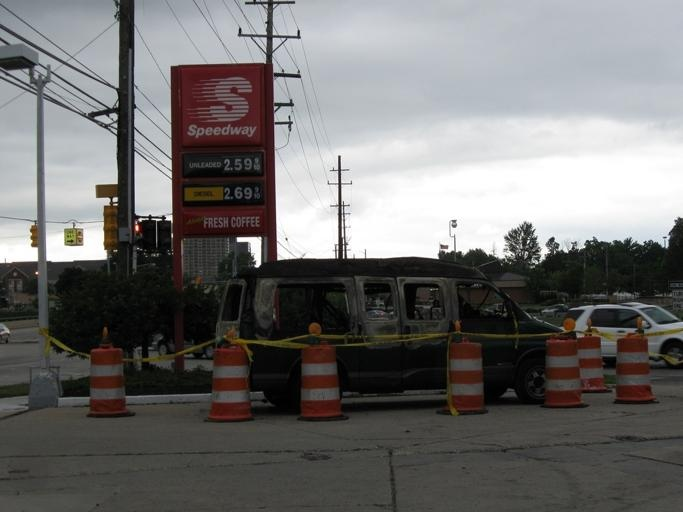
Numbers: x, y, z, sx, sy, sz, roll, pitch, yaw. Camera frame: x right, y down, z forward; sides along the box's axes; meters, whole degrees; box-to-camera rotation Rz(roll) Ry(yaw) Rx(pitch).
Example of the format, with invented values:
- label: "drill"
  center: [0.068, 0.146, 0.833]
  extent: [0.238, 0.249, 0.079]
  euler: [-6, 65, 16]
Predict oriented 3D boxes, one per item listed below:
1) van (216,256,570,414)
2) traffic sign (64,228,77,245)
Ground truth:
- label: "van"
  center: [0.739, 1.332, 18.858]
  extent: [6.378, 2.715, 3.188]
  euler: [-2, 0, -10]
- label: "traffic sign"
  center: [-18.186, -1.262, 60.539]
  extent: [1.136, 1.132, 1.136]
  euler: [-1, -1, -2]
